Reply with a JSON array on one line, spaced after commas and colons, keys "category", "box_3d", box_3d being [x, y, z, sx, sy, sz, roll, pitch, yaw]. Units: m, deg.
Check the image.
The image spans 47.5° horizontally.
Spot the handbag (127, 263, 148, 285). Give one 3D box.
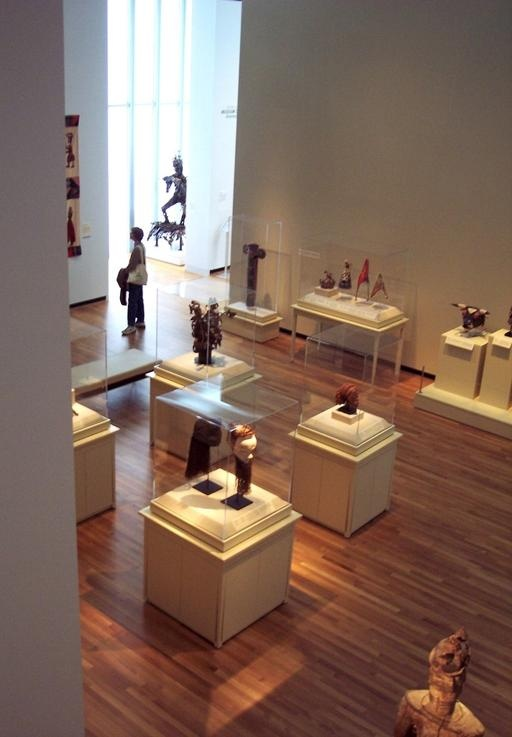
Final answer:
[{"category": "handbag", "box_3d": [-1.967, -1.549, 9.578, 0.315, 0.395, 0.194, 1, 17, -38]}]

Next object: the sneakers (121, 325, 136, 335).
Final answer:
[{"category": "sneakers", "box_3d": [-2.183, -0.656, 10.029, 0.094, 0.185, 0.262, 19, 28, 38]}]

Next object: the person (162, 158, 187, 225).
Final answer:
[{"category": "person", "box_3d": [-1.944, -4.228, 13.738, 0.531, 1.581, 0.690, 1, 14, -11]}]
